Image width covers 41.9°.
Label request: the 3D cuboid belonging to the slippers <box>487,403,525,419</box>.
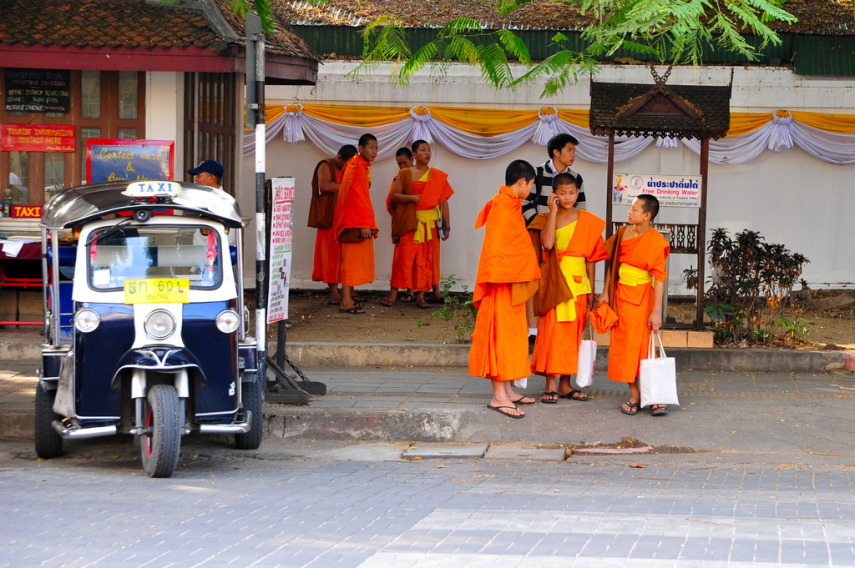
[{"bbox_3d":[0.820,1.325,11.794,0.252,0.062,0.138,7,10,28],"label":"slippers"}]

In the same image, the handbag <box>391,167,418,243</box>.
[{"bbox_3d":[-0.370,-1.111,16.213,0.393,1.068,0.261,2,13,7],"label":"handbag"}]

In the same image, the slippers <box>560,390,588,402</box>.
[{"bbox_3d":[1.613,1.239,12.475,0.277,0.075,0.114,0,2,12],"label":"slippers"}]

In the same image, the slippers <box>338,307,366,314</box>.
[{"bbox_3d":[-1.072,0.370,15.898,0.260,0.077,0.130,2,1,13],"label":"slippers"}]

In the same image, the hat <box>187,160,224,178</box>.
[{"bbox_3d":[-2.500,-1.274,12.585,0.359,0.163,0.208,7,3,-2],"label":"hat"}]

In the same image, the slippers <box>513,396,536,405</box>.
[{"bbox_3d":[1.015,1.257,12.088,0.235,0.058,0.090,-1,5,-27],"label":"slippers"}]

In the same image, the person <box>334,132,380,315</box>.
[{"bbox_3d":[-1.036,-1.010,15.653,0.585,2.073,0.347,-1,13,-5],"label":"person"}]

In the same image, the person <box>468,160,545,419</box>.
[{"bbox_3d":[0.817,0.055,11.848,0.635,2.588,0.727,5,13,20],"label":"person"}]

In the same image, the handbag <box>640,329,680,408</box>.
[{"bbox_3d":[2.422,0.960,11.910,0.400,0.839,0.392,2,13,9],"label":"handbag"}]

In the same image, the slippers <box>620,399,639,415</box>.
[{"bbox_3d":[2.144,1.321,12.035,0.171,0.089,0.281,1,1,9],"label":"slippers"}]

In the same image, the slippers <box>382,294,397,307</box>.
[{"bbox_3d":[-0.585,0.252,16.562,0.188,0.113,0.454,0,-1,-1],"label":"slippers"}]
